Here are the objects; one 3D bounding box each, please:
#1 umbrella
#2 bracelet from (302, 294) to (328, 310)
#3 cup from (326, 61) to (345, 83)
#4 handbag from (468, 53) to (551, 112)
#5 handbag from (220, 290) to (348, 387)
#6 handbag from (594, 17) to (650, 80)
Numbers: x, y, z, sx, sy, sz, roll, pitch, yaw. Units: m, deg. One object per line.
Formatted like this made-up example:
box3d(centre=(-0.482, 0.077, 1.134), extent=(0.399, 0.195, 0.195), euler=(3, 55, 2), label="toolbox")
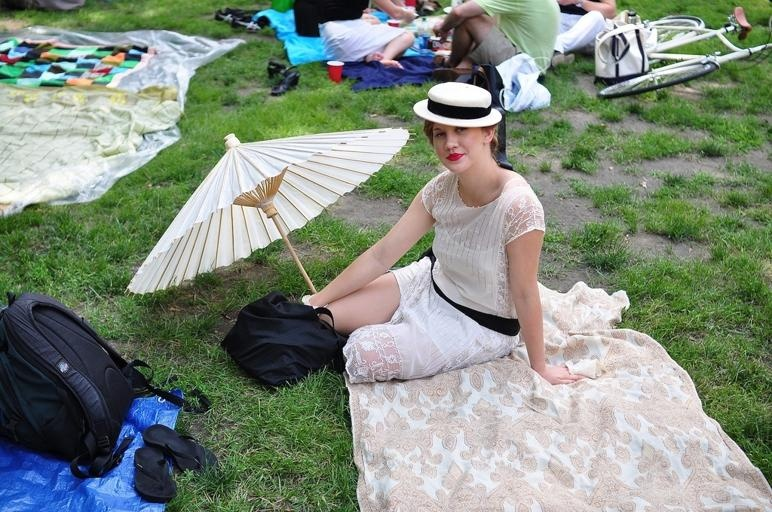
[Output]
box3d(centre=(-1.095, -0.437, 5.874), extent=(1.777, 0.945, 1.976), euler=(-15, 25, -2), label="umbrella")
box3d(centre=(-0.575, 0.375, 5.393), extent=(0.138, 0.069, 0.107), euler=(9, 30, -7), label="bracelet")
box3d(centre=(-0.662, -2.416, 9.117), extent=(0.247, 0.231, 0.270), euler=(0, 26, 0), label="cup")
box3d(centre=(1.598, -2.109, 8.494), extent=(0.648, 0.282, 0.801), euler=(-16, 76, -23), label="handbag")
box3d(centre=(-0.760, 0.628, 5.417), extent=(0.833, 0.388, 1.017), euler=(37, 26, 29), label="handbag")
box3d(centre=(2.971, -2.596, 8.828), extent=(0.740, 0.736, 0.553), euler=(-12, 32, -7), label="handbag")
